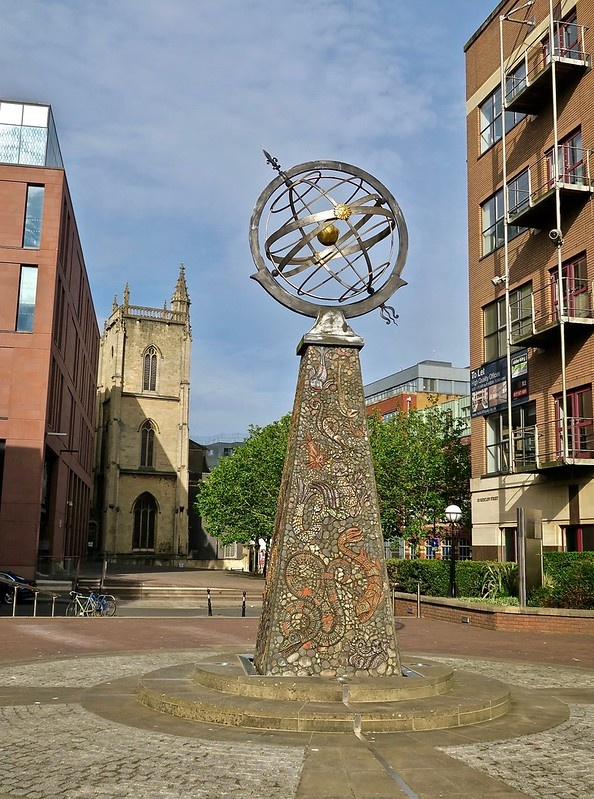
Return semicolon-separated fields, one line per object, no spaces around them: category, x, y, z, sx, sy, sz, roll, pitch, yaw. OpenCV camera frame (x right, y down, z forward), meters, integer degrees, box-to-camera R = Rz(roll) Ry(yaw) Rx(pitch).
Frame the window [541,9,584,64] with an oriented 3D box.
window;8.209;-10.883;23.930;0.666;1.806;1.267;-2;-13;14

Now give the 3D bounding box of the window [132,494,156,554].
window;-13.507;10.852;69.770;1.946;5.101;0.958;3;-13;-10

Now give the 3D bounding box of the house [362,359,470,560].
house;7.744;2.746;40.700;5.962;9.583;7.584;-2;4;9

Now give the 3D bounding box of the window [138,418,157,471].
window;-13.677;4.071;71.850;1.375;4.375;0.685;5;-13;-16
